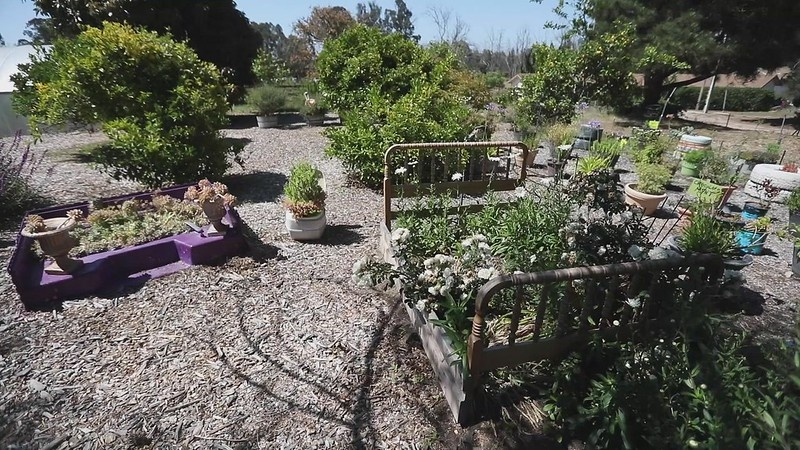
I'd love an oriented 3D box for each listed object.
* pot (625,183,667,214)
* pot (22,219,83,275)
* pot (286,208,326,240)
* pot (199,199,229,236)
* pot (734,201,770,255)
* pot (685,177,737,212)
[{"bbox_3d":[4.842,-0.533,8.049,0.591,0.343,0.564,3,33,-2],"label":"pot"},{"bbox_3d":[-5.435,0.328,6.497,0.610,0.811,0.388,0,20,0],"label":"pot"},{"bbox_3d":[-1.809,-0.035,7.882,0.794,0.456,0.775,2,20,-1],"label":"pot"},{"bbox_3d":[-3.191,-0.152,7.058,0.396,0.649,0.204,-4,21,-12],"label":"pot"},{"bbox_3d":[6.476,0.164,7.692,0.573,0.887,0.576,-7,4,0],"label":"pot"},{"bbox_3d":[5.962,-0.581,7.814,0.693,0.436,0.708,0,33,0],"label":"pot"}]
